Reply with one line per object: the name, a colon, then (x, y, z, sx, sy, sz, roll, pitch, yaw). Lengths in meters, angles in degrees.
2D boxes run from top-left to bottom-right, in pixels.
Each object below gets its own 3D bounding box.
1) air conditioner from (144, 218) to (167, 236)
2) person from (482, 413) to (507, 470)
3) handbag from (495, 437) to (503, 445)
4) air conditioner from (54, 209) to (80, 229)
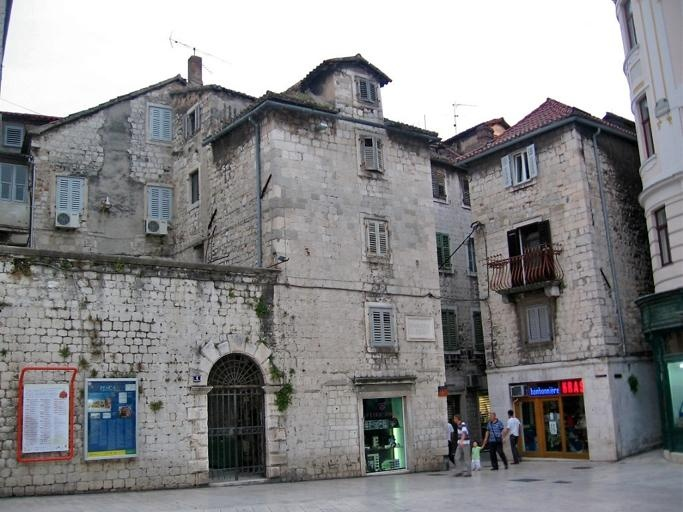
air conditioner: (-7.765, -1.090, 29.455, 1.027, 0.828, 0.612, 6, -18, -26)
person: (5.361, 6.443, 24.583, 0.652, 1.916, 1.334, -6, -15, 11)
handbag: (5.477, 6.419, 24.532, 0.095, 0.229, 0.314, -16, -19, 42)
air conditioner: (-10.940, -1.373, 28.158, 1.078, 0.884, 0.618, 4, -18, -18)
